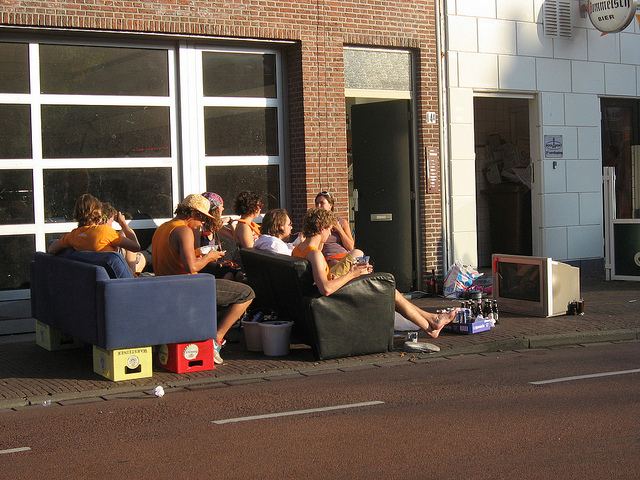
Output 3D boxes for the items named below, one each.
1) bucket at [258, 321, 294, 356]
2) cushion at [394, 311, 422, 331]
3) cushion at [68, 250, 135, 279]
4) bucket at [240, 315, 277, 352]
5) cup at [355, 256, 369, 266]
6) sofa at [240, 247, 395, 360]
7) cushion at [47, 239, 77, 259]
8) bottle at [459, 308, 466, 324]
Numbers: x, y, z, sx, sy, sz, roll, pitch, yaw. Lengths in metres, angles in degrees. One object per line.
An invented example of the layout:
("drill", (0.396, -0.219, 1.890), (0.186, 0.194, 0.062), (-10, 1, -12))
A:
("bucket", (-0.526, 1.174, 8.787), (0.376, 0.308, 0.367), (0, 1, 0))
("cushion", (1.185, 1.144, 9.807), (0.355, 0.225, 0.211), (0, 6, 16))
("cushion", (-2.349, 0.265, 8.100), (0.417, 0.141, 0.429), (9, 2, -27))
("bucket", (-0.833, 1.201, 9.168), (0.370, 0.356, 0.370), (0, -3, 0))
("cup", (0.514, 0.263, 8.849), (0.112, 0.110, 0.094), (3, -4, -13))
("sofa", (0.137, 0.516, 9.492), (1.180, 1.270, 2.146), (-5, 17, -14))
("cushion", (-3.240, 0.116, 9.093), (0.188, 0.211, 0.073), (-6, 7, 31))
("bottle", (1.919, 1.039, 9.736), (0.083, 0.171, 0.153), (0, 6, 12))
